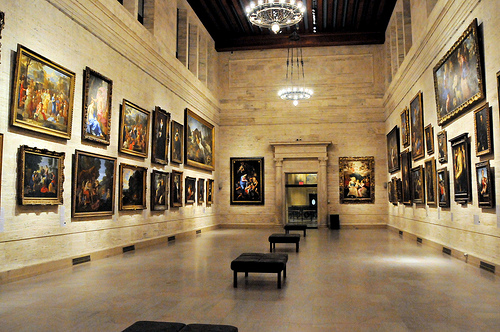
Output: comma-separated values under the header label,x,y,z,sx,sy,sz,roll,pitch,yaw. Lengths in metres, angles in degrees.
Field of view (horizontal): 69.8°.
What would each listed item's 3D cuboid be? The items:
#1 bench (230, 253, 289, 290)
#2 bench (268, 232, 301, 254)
label,x,y,z,sx,sy,sz,roll,pitch,yaw
bench,0.262,2.942,10.213,1.536,0.718,1.423,-1,-5,6
bench,1.441,3.307,15.603,1.230,0.639,2.195,0,-5,2
